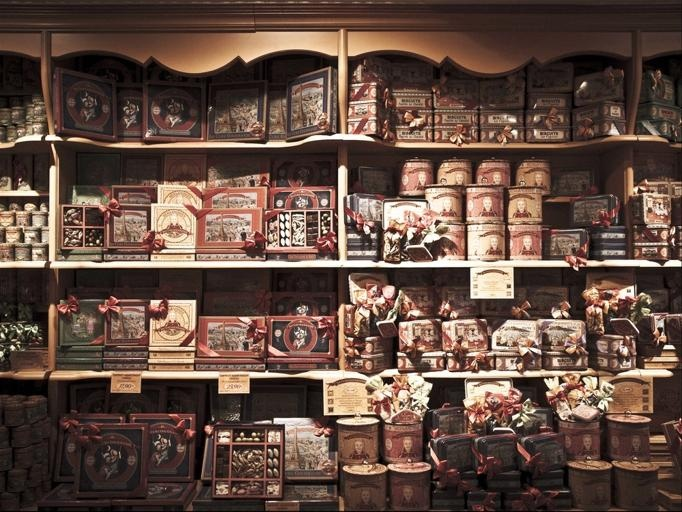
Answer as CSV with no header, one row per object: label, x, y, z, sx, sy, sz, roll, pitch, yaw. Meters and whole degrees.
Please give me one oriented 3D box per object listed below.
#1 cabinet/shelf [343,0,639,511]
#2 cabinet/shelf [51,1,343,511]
cabinet/shelf,0.947,0.049,8.609,1.957,3.319,0.588,0,-5,-1
cabinet/shelf,-0.716,0.006,8.596,1.869,3.413,0.711,-1,-5,0
